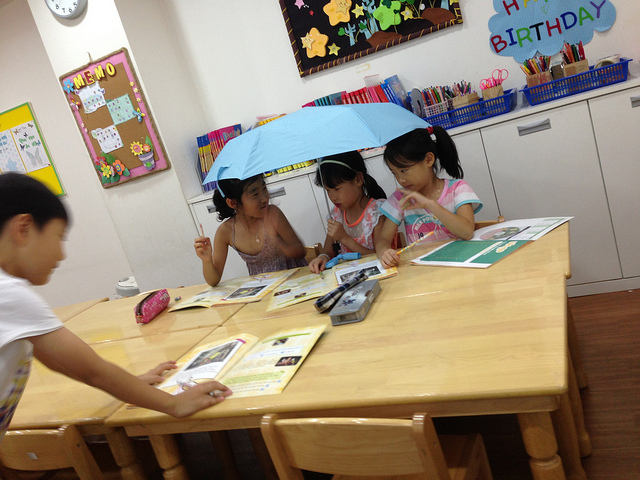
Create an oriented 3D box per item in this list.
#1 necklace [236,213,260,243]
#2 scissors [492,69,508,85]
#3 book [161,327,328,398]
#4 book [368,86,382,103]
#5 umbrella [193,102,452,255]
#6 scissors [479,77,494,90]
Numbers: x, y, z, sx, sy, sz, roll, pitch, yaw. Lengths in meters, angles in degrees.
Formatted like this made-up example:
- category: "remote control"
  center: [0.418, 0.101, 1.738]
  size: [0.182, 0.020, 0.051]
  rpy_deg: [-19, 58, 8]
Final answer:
- category: "necklace"
  center: [-0.408, -0.078, 2.451]
  size: [0.004, 0.185, 0.056]
  rpy_deg: [-41, 9, 10]
- category: "scissors"
  center: [1.197, -1.094, 2.846]
  size: [0.092, 0.101, 0.039]
  rpy_deg: [-13, 13, 21]
- category: "book"
  center: [-0.251, 0.395, 1.382]
  size: [0.370, 0.033, 0.228]
  rpy_deg: [-9, 24, 31]
- category: "book"
  center: [0.376, -1.003, 2.932]
  size: [0.043, 0.116, 0.077]
  rpy_deg: [-24, 14, -26]
- category: "umbrella"
  center: [0.056, -0.296, 2.282]
  size: [0.895, 0.516, 0.864]
  rpy_deg: [-38, 25, -33]
- category: "scissors"
  center: [1.113, -1.059, 2.875]
  size: [0.094, 0.060, 0.049]
  rpy_deg: [-13, 13, 20]
